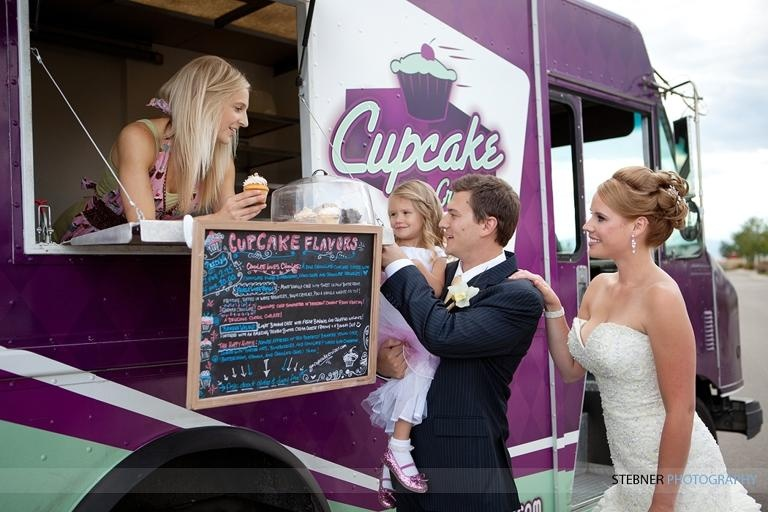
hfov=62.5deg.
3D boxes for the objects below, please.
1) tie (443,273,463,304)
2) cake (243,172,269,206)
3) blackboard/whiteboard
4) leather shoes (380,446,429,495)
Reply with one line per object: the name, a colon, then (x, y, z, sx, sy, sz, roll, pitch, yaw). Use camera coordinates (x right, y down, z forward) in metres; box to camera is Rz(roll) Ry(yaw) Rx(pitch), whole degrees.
tie: (0.324, 0.179, 3.161, 0.031, 0.092, 0.132, 19, -42, -14)
cake: (-0.626, -0.332, 3.045, 0.132, 0.164, 0.136, -6, -9, 19)
blackboard/whiteboard: (-0.454, 0.233, 2.797, 0.837, 0.742, 0.036, 0, 2, -32)
leather shoes: (0.106, 1.046, 3.198, 0.311, 0.132, 0.103, 42, 31, 27)
